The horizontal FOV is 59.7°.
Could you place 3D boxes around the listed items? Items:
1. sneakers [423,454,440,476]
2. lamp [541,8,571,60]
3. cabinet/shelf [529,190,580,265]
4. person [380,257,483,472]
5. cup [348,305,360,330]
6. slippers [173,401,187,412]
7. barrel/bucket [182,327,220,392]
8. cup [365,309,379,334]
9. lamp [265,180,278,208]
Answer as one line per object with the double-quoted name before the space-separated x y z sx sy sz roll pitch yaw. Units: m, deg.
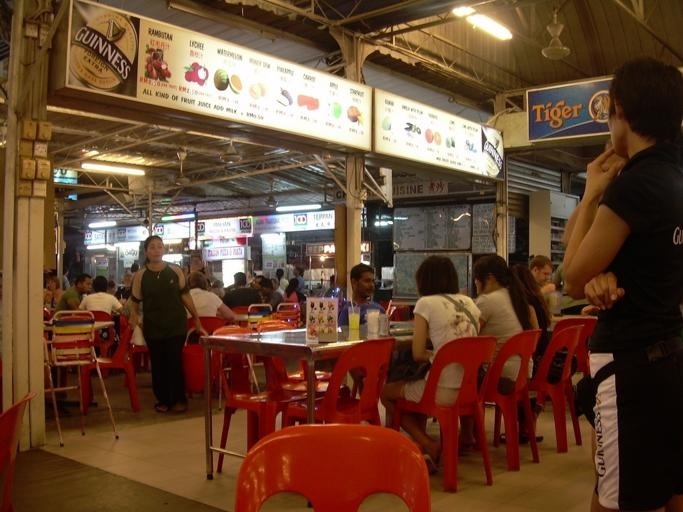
"sneakers" 0.663 1.520 4.378 0.099 0.156 0.281 0 -2 8
"lamp" 2.992 -3.148 8.369 0.322 0.774 0.345 0 3 33
"cabinet/shelf" 4.531 -0.434 12.650 0.912 1.830 0.391 -1 3 -33
"person" 0.629 0.777 4.331 0.714 1.568 0.603 -1 -2 14
"cup" 0.097 0.512 4.849 0.115 0.223 0.127 1 -2 7
"slippers" -1.737 1.625 6.372 0.082 0.061 0.122 1 -1 6
"barrel/bucket" -1.727 1.212 7.020 0.391 0.735 0.412 0 -6 0
"cup" 0.236 0.508 4.531 0.125 0.252 0.131 -1 0 0
"lamp" -2.142 -1.891 18.244 0.281 0.756 1.258 0 -2 -6
